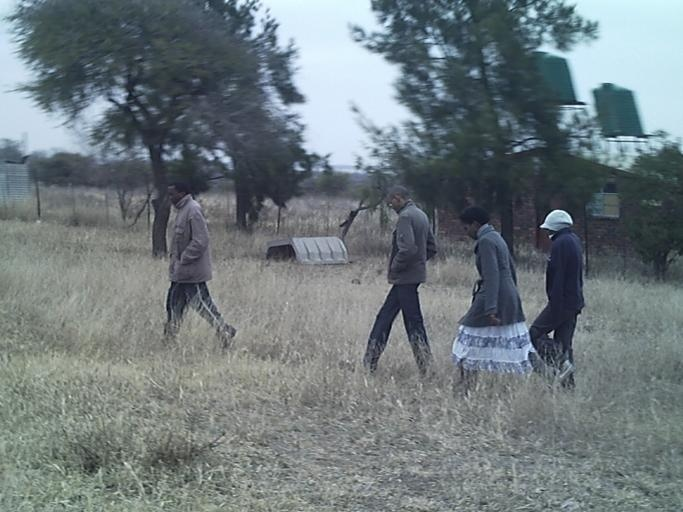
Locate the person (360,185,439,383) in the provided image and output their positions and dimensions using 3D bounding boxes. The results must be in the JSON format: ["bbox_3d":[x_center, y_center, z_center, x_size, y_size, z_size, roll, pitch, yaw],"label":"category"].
[{"bbox_3d":[0.911,0.350,11.490,1.010,2.692,1.007,4,8,7],"label":"person"}]

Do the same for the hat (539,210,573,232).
[{"bbox_3d":[3.128,-0.484,11.176,0.449,0.317,0.345,0,10,20],"label":"hat"}]

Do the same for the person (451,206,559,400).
[{"bbox_3d":[2.169,0.629,10.726,1.171,2.519,0.512,4,8,9],"label":"person"}]

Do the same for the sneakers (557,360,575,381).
[{"bbox_3d":[3.138,1.599,10.770,0.175,0.313,0.113,41,2,43],"label":"sneakers"}]

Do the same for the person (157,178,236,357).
[{"bbox_3d":[-2.277,0.134,12.092,1.079,2.456,0.672,3,8,-2],"label":"person"}]
